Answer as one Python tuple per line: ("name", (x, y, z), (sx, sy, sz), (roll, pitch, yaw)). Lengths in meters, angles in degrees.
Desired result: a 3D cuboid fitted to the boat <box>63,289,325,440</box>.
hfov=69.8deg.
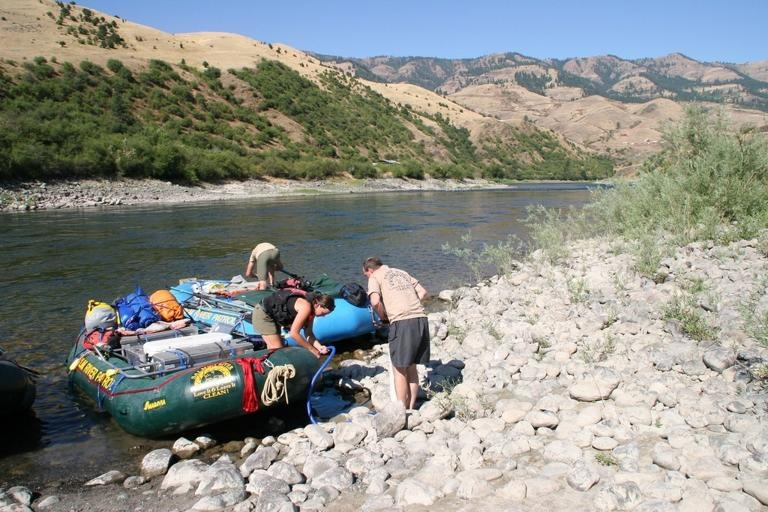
("boat", (-3.497, 1.961, 9.428), (4.119, 1.530, 2.154), (4, 14, 29))
